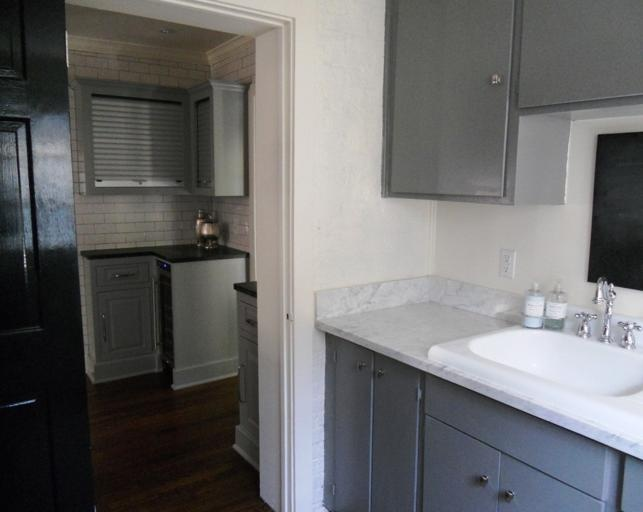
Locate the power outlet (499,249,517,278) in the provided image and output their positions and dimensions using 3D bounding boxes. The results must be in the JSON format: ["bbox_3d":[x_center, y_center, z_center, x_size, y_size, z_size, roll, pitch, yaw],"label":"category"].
[{"bbox_3d":[0.854,0.031,2.430,0.015,0.160,0.107,-6,11,-33],"label":"power outlet"}]

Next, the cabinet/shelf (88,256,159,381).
[{"bbox_3d":[-1.585,0.444,4.305,0.582,0.981,0.463,-6,13,-26],"label":"cabinet/shelf"}]

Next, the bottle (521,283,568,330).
[{"bbox_3d":[0.931,0.212,2.212,0.086,0.232,0.168,-3,5,-43],"label":"bottle"}]

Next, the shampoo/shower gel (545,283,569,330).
[{"bbox_3d":[0.959,0.207,2.185,0.076,0.182,0.062,4,11,22],"label":"shampoo/shower gel"}]

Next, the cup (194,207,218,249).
[{"bbox_3d":[-1.028,-0.230,4.596,0.205,0.364,0.347,0,3,-17],"label":"cup"}]
